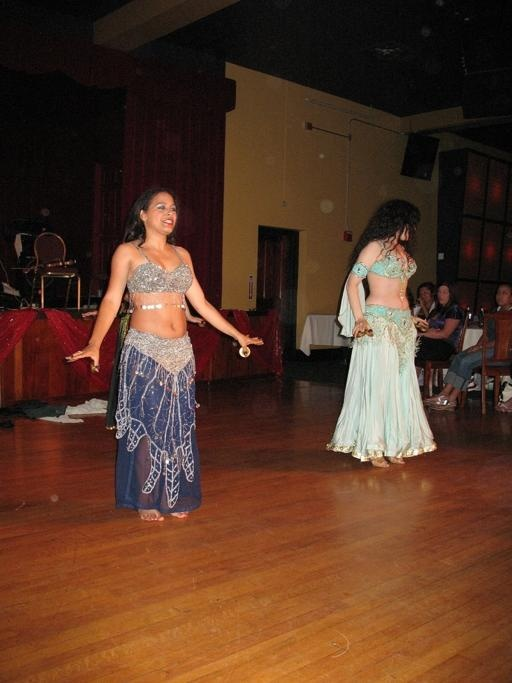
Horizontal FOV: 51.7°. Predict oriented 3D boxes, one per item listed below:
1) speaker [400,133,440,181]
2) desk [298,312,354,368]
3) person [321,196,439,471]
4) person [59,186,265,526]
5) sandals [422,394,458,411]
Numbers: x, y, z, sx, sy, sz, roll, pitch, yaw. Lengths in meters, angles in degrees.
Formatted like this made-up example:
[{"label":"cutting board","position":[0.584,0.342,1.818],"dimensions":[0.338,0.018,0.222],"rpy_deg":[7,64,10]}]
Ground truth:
[{"label":"speaker","position":[3.430,-3.909,11.104],"dimensions":[0.952,0.914,0.378],"rpy_deg":[1,0,-38]},{"label":"desk","position":[1.278,-0.134,8.716],"dimensions":[0.871,0.572,0.764],"rpy_deg":[0,1,40]},{"label":"person","position":[0.791,-0.051,3.150],"dimensions":[0.595,1.496,0.439],"rpy_deg":[1,0,-16]},{"label":"person","position":[-0.451,0.055,2.156],"dimensions":[0.690,1.341,0.285],"rpy_deg":[1,0,-45]},{"label":"sandals","position":[1.782,0.594,5.192],"dimensions":[0.341,0.133,0.124],"rpy_deg":[8,-7,2]}]
